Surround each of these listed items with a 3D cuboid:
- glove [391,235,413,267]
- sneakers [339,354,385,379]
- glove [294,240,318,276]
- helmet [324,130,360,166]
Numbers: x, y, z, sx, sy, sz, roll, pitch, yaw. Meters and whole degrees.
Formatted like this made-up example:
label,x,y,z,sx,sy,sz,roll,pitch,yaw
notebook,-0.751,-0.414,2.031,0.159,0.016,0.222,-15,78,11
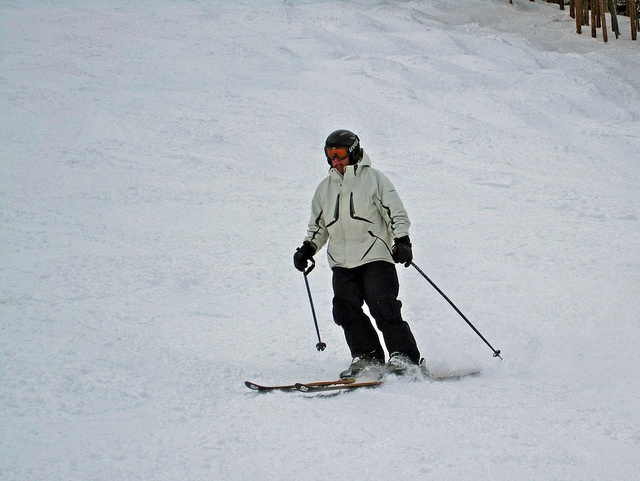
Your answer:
label,x,y,z,sx,sy,sz,roll,pitch,yaw
glove,0.966,0.121,12.562,0.305,0.314,0.155,-4,-7,13
sneakers,0.459,1.475,12.561,0.655,0.221,0.204,-11,-17,-15
glove,-0.177,0.205,12.838,0.331,0.346,0.200,-13,24,-43
helmet,0.275,-1.128,12.747,0.403,0.336,0.417,-3,12,24
